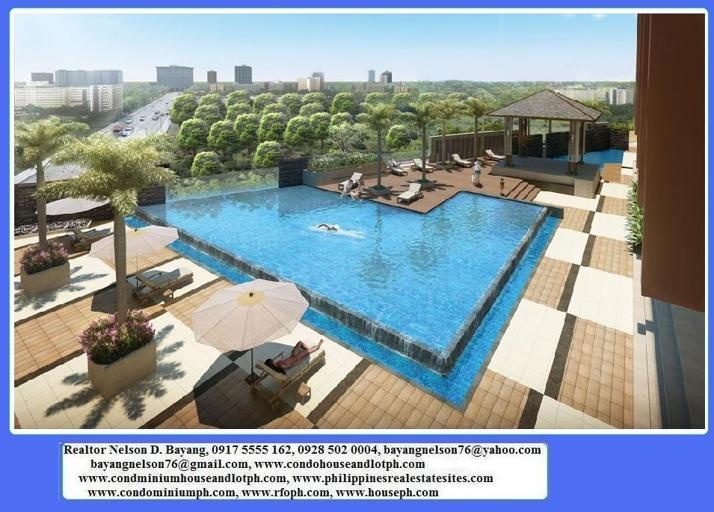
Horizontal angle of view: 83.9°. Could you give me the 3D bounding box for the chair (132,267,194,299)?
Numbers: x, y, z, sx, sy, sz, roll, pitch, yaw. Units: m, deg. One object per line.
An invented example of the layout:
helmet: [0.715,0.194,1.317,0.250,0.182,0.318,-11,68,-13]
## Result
chair: [-6.783,0.898,13.704,1.601,0.577,1.071,-23,42,-35]

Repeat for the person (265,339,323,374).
person: [-1.620,2.481,10.158,0.764,0.352,1.971,8,17,15]

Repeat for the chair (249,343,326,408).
chair: [-1.661,2.971,9.919,0.863,0.535,1.596,25,43,32]

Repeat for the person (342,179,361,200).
person: [-0.333,-4.248,25.335,1.196,1.381,1.481,7,13,33]

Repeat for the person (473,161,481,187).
person: [7.787,-5.276,25.679,0.578,1.410,1.677,7,19,15]

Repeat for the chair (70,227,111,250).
chair: [-11.204,-0.707,16.546,0.826,0.342,1.149,16,25,29]

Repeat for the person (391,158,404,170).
person: [2.990,-7.143,31.119,0.919,0.413,1.252,-14,32,-36]

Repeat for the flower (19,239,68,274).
flower: [-11.135,-0.053,13.930,1.297,0.550,1.397,-22,33,-38]

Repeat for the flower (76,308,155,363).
flower: [-5.907,1.979,9.743,1.436,0.625,1.250,-19,30,-31]

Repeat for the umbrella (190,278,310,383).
umbrella: [-2.666,1.951,10.280,2.645,2.062,2.368,-21,47,-26]

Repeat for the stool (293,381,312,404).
stool: [-1.294,3.274,9.454,0.360,0.324,0.324,33,54,31]
